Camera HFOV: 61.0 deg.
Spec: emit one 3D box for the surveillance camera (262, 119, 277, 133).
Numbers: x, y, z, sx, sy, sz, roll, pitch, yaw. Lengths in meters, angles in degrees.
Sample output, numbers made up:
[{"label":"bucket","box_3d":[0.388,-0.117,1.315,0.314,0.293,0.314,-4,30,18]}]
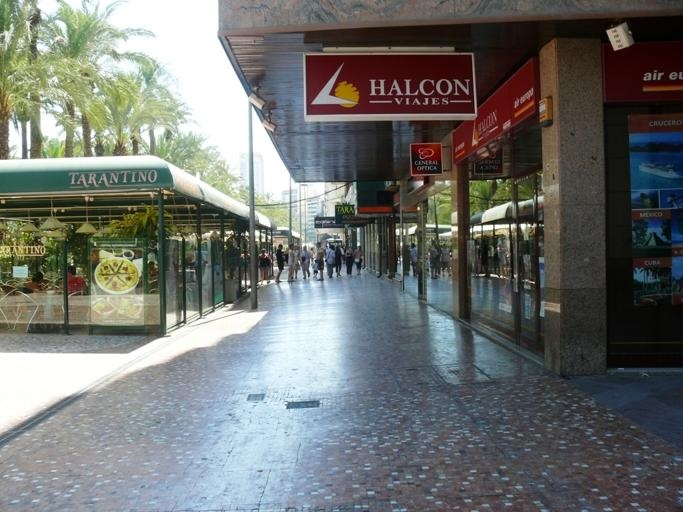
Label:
[{"label":"surveillance camera","box_3d":[-1.501,-2.713,11.997,0.411,0.115,0.433,10,-1,-15]}]
